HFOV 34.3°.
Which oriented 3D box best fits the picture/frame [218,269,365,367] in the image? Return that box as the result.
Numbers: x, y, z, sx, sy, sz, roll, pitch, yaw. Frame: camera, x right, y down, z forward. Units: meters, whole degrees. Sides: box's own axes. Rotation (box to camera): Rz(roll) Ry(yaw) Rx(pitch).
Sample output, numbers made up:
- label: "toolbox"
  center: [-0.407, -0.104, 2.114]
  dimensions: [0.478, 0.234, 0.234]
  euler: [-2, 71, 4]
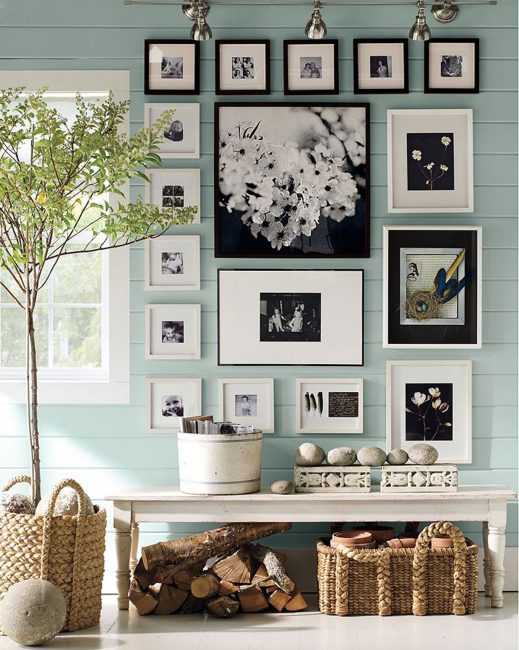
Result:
- label: "picture/frame"
  center: [0.134, -0.033, 3.719]
  dimensions: [0.620, 0.418, 0.129]
  euler: [1, 1, 10]

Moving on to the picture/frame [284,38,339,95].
- label: "picture/frame"
  center: [0.221, -1.142, 3.731]
  dimensions: [0.279, 0.248, 0.020]
  euler: [0, 2, -1]

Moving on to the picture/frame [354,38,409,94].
- label: "picture/frame"
  center: [0.529, -1.152, 3.731]
  dimensions: [0.275, 0.236, 0.020]
  euler: [0, 1, -2]

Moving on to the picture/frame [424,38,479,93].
- label: "picture/frame"
  center: [0.851, -1.148, 3.737]
  dimensions: [0.272, 0.246, 0.020]
  euler: [0, 0, 1]

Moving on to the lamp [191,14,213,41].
- label: "lamp"
  center: [-0.245, -1.245, 3.542]
  dimensions: [0.099, 0.094, 0.093]
  euler: [0, 7, -1]

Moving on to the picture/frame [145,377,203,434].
- label: "picture/frame"
  center: [-0.381, 0.358, 3.672]
  dimensions: [0.274, 0.247, 0.021]
  euler: [0, -4, -3]

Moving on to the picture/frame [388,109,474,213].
- label: "picture/frame"
  center: [0.752, -0.720, 3.733]
  dimensions: [0.506, 0.547, 0.038]
  euler: [0, -3, -1]

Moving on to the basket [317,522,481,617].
- label: "basket"
  center: [0.513, 0.955, 3.302]
  dimensions: [0.573, 0.375, 0.114]
  euler: [0, 1, 2]

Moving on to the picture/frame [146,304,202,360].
- label: "picture/frame"
  center: [-0.388, 0.035, 3.719]
  dimensions: [0.270, 0.244, 0.019]
  euler: [0, 0, -2]

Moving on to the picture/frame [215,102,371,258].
- label: "picture/frame"
  center: [0.131, -0.619, 3.724]
  dimensions: [0.758, 0.685, 0.028]
  euler: [0, 0, 0]

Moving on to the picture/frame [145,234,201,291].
- label: "picture/frame"
  center: [-0.385, -0.276, 3.726]
  dimensions: [0.279, 0.243, 0.021]
  euler: [0, -1, -1]

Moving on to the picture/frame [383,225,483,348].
- label: "picture/frame"
  center: [0.765, -0.170, 3.728]
  dimensions: [0.603, 0.688, 0.052]
  euler: [0, 0, 1]

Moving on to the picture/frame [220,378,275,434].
- label: "picture/frame"
  center: [-0.060, 0.360, 3.675]
  dimensions: [0.266, 0.239, 0.019]
  euler: [0, -4, -1]

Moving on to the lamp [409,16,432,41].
- label: "lamp"
  center: [0.672, -1.252, 3.550]
  dimensions: [0.076, 0.112, 0.092]
  euler: [0, 1, -4]

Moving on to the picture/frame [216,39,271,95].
- label: "picture/frame"
  center: [-0.082, -1.138, 3.728]
  dimensions: [0.272, 0.245, 0.018]
  euler: [0, 0, -1]

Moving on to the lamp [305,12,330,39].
- label: "lamp"
  center: [0.231, -1.249, 3.539]
  dimensions: [0.077, 0.097, 0.130]
  euler: [0, 1, -9]

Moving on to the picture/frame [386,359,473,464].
- label: "picture/frame"
  center: [0.742, 0.395, 3.680]
  dimensions: [0.500, 0.543, 0.037]
  euler: [0, -4, -1]

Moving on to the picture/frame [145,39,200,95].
- label: "picture/frame"
  center: [-0.392, -1.139, 3.726]
  dimensions: [0.277, 0.245, 0.019]
  euler: [0, 0, -1]
